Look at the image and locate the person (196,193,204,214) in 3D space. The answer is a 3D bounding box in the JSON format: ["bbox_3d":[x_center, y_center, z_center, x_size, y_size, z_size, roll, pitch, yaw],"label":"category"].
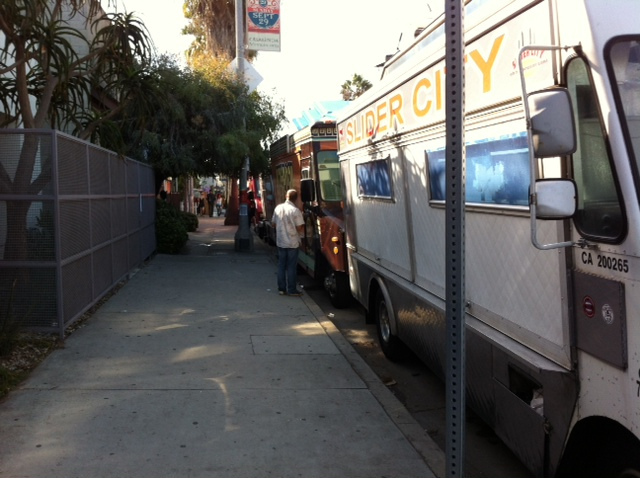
[{"bbox_3d":[-10.507,-2.885,40.843,0.475,1.435,2.378,-3,8,-11],"label":"person"}]

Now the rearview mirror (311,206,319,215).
[{"bbox_3d":[-0.093,-0.617,9.929,0.124,0.149,0.234,8,-7,-24],"label":"rearview mirror"}]

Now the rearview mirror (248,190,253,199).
[{"bbox_3d":[-3.741,-2.331,24.644,0.284,0.421,0.325,2,7,6],"label":"rearview mirror"}]

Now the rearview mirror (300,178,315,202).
[{"bbox_3d":[-0.245,-1.004,9.617,0.319,0.772,0.393,-1,6,-7],"label":"rearview mirror"}]

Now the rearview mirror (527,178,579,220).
[{"bbox_3d":[1.318,-0.219,2.585,0.230,0.242,0.154,0,7,13],"label":"rearview mirror"}]
